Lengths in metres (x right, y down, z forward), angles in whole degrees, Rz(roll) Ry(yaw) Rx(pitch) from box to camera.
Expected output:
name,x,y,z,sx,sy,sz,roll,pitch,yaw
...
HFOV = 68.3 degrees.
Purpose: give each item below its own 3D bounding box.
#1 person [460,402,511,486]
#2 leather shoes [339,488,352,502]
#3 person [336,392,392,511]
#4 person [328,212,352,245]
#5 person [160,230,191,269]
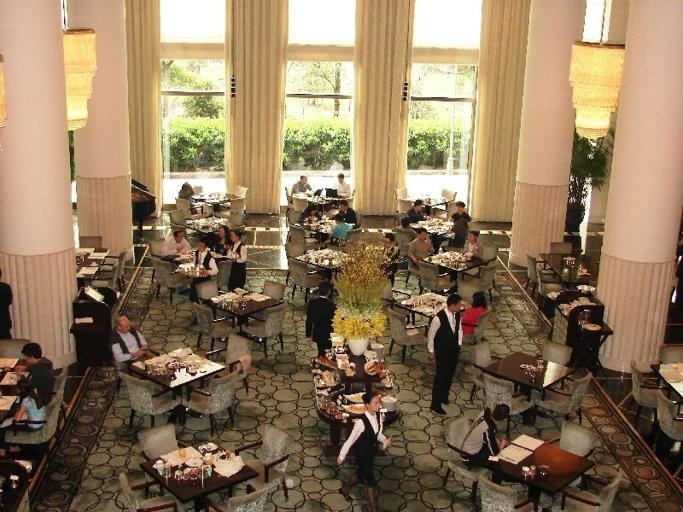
name,x,y,z,sx,sy,sz,roll,pitch,yaw
person,1.527,1.959,5.411,0.467,0.842,0.310,0,13,12
leather shoes,0.042,2.692,5.684,0.094,0.160,0.060,-39,5,-17
person,0.252,2.063,5.609,0.558,1.406,0.706,-1,12,5
person,-0.032,-0.654,12.505,0.766,0.780,0.470,-12,39,-2
person,-3.616,-0.103,11.144,0.635,0.858,0.599,-3,4,17
